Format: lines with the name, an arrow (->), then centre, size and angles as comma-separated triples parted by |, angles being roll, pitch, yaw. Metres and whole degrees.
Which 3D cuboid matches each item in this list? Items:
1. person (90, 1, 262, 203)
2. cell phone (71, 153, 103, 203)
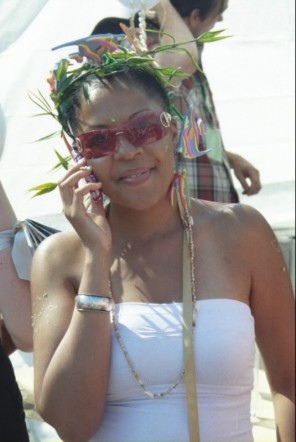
person -> 0.120, -0.570, 2.216 | 0.384, 1.041, 0.435 | -18, 54, 19
cell phone -> -0.223, -0.134, 1.919 | 0.060, 0.244, 0.062 | -18, 12, -10
